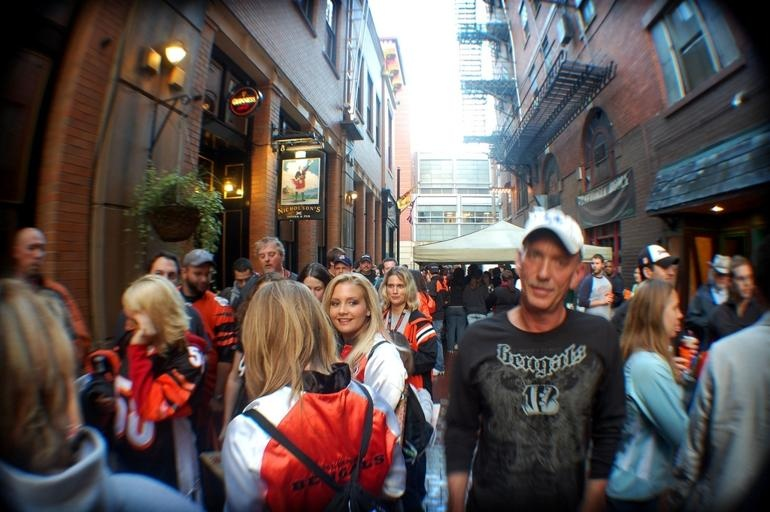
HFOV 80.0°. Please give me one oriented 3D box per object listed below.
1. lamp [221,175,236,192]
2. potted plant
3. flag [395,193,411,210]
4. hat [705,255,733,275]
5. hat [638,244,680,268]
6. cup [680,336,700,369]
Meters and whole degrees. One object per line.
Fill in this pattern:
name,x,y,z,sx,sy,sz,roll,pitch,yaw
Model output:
lamp,-3.493,-1.590,10.240,0.275,0.325,0.275,-2,7,-22
potted plant,-3.000,-0.672,6.462,0.967,0.945,0.831,1,-3,-11
flag,1.042,-3.259,27.771,0.485,0.743,2.167,8,6,7
hat,4.348,0.104,5.944,0.450,0.208,0.408,0,9,29
hat,3.538,0.028,6.051,0.275,0.272,0.438,-4,-6,-20
cup,3.192,1.007,4.891,0.172,0.442,0.109,-9,34,27
